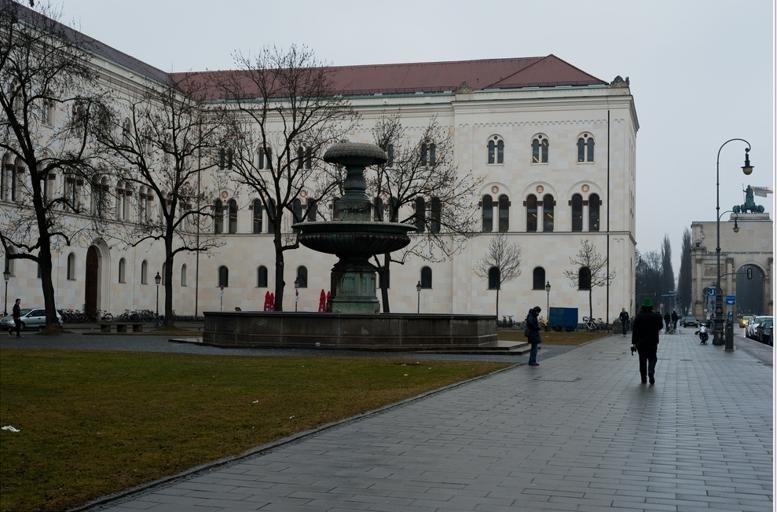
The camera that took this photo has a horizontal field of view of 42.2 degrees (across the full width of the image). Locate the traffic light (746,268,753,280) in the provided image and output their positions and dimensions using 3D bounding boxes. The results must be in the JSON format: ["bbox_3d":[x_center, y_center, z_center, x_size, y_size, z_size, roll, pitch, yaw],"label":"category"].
[{"bbox_3d":[8.997,0.462,25.284,0.131,0.226,2.530,2,2,19],"label":"traffic light"}]

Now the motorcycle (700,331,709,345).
[{"bbox_3d":[15.686,4.168,50.487,0.523,0.575,0.981,-2,-8,11],"label":"motorcycle"}]

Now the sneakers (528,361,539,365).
[{"bbox_3d":[4.808,3.601,33.536,0.359,0.136,0.124,-3,5,-34],"label":"sneakers"}]
